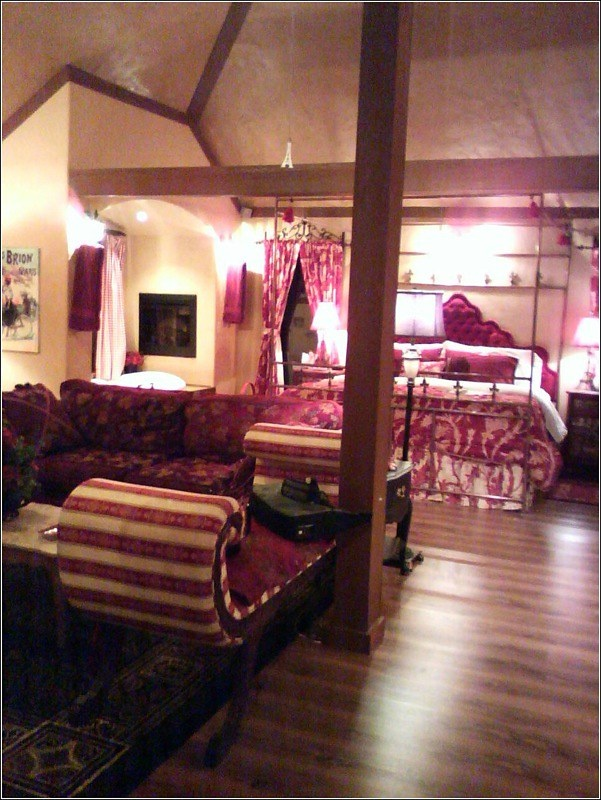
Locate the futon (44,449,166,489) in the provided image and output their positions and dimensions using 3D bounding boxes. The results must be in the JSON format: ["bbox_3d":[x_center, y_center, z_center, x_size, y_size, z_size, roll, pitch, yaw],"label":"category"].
[{"bbox_3d":[-1.022,0.288,3.115,0.319,0.189,0.524,5,8,23],"label":"futon"}]

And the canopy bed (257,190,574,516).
[{"bbox_3d":[1.366,-0.737,5.751,2.809,2.594,2.242,5,5,19],"label":"canopy bed"}]

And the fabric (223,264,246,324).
[{"bbox_3d":[-0.762,-1.232,7.056,0.251,0.713,0.189,2,5,-8],"label":"fabric"}]

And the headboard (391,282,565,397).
[{"bbox_3d":[1.708,-0.589,5.910,1.747,0.945,0.514,8,9,36],"label":"headboard"}]
